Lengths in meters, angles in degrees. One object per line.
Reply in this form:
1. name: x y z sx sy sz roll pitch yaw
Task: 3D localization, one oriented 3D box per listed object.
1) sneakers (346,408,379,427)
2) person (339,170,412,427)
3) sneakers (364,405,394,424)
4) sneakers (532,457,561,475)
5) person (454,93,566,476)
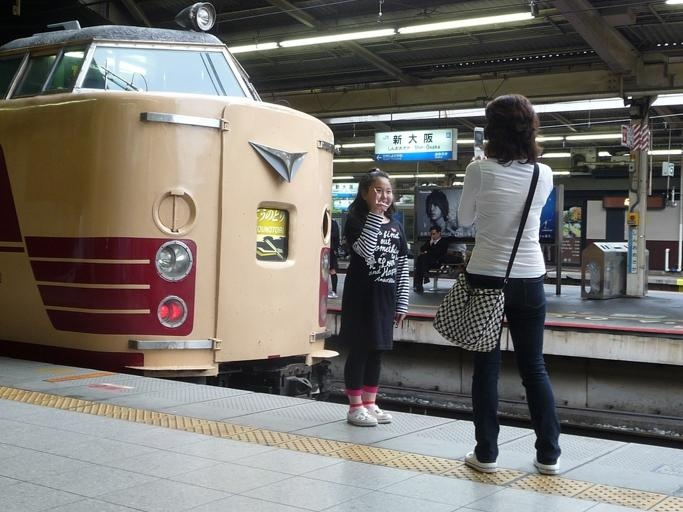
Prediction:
1. sneakers: 0.158 1.180 4.164 0.212 0.099 0.110 -3 -4 39
2. person: 0.270 0.293 4.356 0.536 1.954 0.449 1 1 -8
3. sneakers: 0.259 1.215 4.316 0.258 0.108 0.097 5 2 29
4. sneakers: 1.211 1.215 3.320 0.146 0.068 0.225 2 2 21
5. person: 1.010 0.144 3.360 0.634 1.509 0.352 2 1 11
